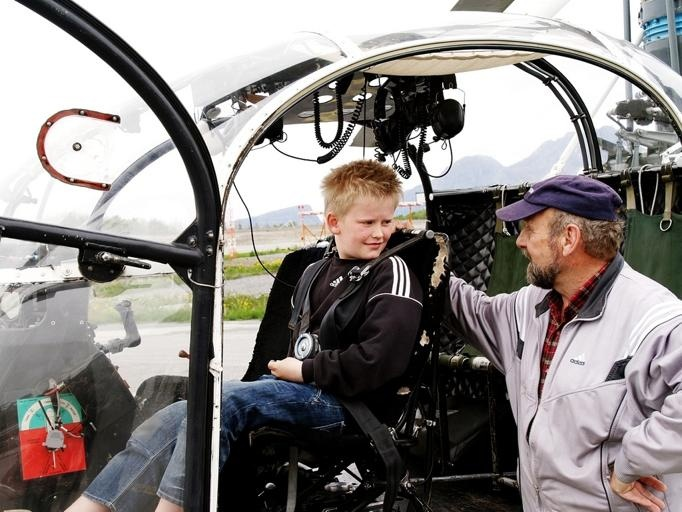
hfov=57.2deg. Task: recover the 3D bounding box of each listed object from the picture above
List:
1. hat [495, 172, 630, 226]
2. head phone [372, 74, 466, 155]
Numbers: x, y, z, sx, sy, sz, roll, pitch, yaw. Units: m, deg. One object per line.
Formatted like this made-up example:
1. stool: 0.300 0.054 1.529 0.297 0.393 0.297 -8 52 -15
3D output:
1. hat: 0.856 -0.217 2.395 0.338 0.128 0.225 1 0 14
2. head phone: 0.386 -0.721 3.259 0.504 0.481 0.290 -6 2 43
